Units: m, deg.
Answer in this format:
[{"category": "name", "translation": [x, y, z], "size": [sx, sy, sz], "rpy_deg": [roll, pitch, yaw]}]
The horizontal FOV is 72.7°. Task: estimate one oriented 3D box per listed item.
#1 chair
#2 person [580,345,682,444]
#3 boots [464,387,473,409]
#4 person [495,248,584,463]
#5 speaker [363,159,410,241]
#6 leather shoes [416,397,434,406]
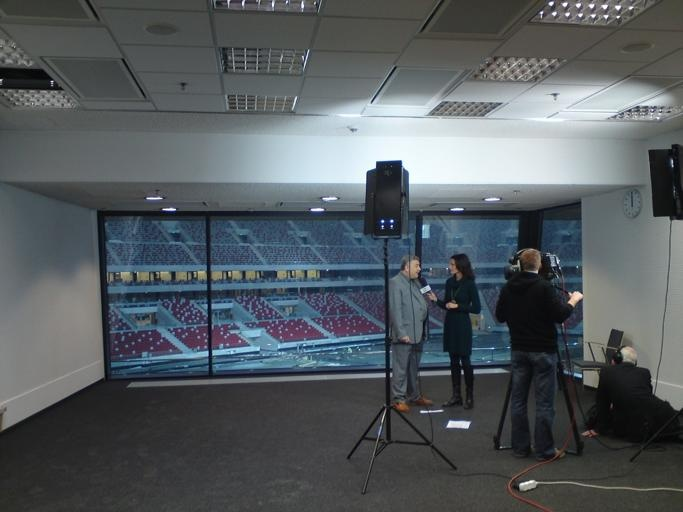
[{"category": "chair", "translation": [3.397, 1.430, 6.180], "size": [0.542, 0.837, 0.497], "rpy_deg": [0, -2, 6]}, {"category": "person", "translation": [2.935, 1.402, 4.686], "size": [0.869, 0.933, 0.478], "rpy_deg": [0, 2, 25]}, {"category": "boots", "translation": [1.592, 1.756, 5.775], "size": [0.112, 0.266, 0.095], "rpy_deg": [-1, 2, 6]}, {"category": "person", "translation": [1.791, 0.923, 4.308], "size": [0.693, 1.964, 0.295], "rpy_deg": [0, 2, 25]}, {"category": "speaker", "translation": [0.356, -0.555, 4.524], "size": [0.505, 0.763, 0.462], "rpy_deg": [-2, 13, -14]}, {"category": "leather shoes", "translation": [1.042, 1.835, 5.861], "size": [0.238, 0.103, 0.105], "rpy_deg": [-1, 1, -3]}]
